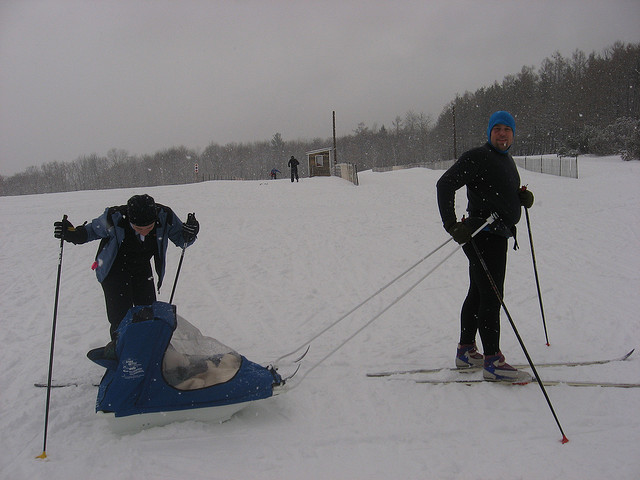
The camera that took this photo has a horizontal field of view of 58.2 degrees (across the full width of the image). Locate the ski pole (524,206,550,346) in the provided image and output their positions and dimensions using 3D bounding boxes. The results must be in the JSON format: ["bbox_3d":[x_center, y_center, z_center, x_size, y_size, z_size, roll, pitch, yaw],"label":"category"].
[{"bbox_3d":[2.965,0.515,7.848,0.070,2.076,0.087,-11,11,13],"label":"ski pole"}]

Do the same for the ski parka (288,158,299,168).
[{"bbox_3d":[-1.335,-3.805,28.310,0.425,0.435,0.968,-1,14,0],"label":"ski parka"}]

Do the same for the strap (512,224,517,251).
[{"bbox_3d":[2.324,-0.053,6.881,0.035,0.418,0.074,3,6,30],"label":"strap"}]

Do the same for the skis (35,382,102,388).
[{"bbox_3d":[-3.032,1.783,7.095,0.593,0.023,0.130,-1,15,0],"label":"skis"}]

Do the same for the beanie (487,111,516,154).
[{"bbox_3d":[2.162,-1.283,6.864,0.308,0.492,0.300,1,12,9],"label":"beanie"}]

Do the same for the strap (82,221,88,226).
[{"bbox_3d":[-3.689,-0.261,8.978,0.048,0.060,0.180,-45,7,6],"label":"strap"}]
